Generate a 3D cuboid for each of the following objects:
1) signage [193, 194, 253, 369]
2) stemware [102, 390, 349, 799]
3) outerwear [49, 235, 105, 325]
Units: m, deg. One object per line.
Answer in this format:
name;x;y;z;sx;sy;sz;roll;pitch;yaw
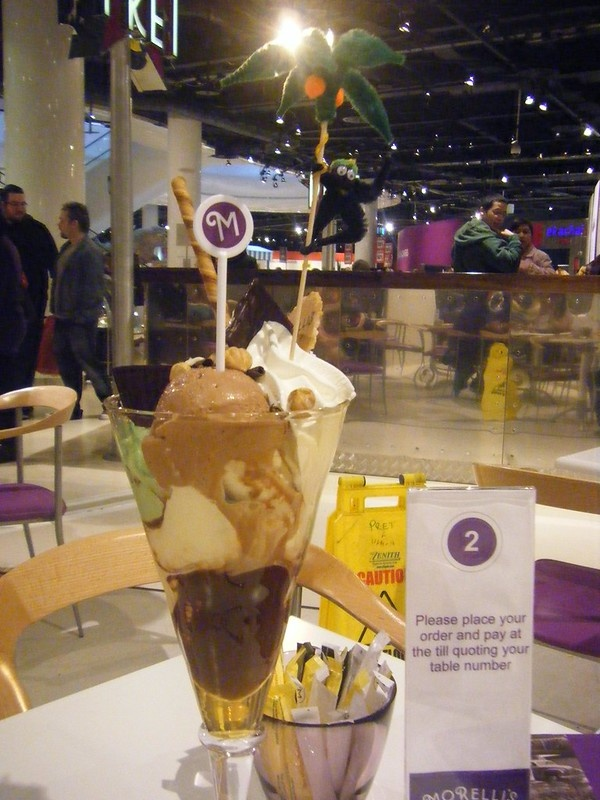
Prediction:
signage;-0.052;-0.068;0.443;0.042;0.132;0.010;5;9;12
stemware;-0.033;0.108;0.348;0.116;0.217;0.067;-3;12;-16
outerwear;-1.196;-0.621;3.643;0.347;0.638;0.607;1;13;-20
